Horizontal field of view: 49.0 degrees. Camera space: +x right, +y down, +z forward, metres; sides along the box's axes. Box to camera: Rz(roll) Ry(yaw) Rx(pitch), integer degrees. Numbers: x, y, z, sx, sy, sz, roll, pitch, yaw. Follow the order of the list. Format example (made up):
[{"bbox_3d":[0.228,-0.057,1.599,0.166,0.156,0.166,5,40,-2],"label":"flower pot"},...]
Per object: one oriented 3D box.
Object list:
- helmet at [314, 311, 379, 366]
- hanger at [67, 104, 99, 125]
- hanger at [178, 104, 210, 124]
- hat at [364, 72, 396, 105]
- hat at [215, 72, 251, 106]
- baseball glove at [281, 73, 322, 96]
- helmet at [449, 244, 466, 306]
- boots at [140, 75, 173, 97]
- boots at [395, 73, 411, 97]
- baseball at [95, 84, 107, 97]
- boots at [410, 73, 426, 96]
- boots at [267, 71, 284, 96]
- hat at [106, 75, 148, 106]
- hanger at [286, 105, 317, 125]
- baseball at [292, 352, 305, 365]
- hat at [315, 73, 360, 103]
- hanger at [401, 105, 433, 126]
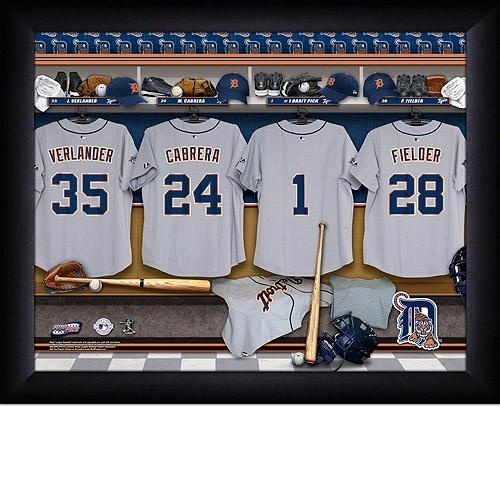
[{"bbox_3d":[0.564,0.506,3.319,0.345,0.279,0.267,-5,12,-11],"label":"helmet"},{"bbox_3d":[-1.066,-0.853,3.508,0.179,0.111,0.103,3,-1,-13],"label":"hanger"},{"bbox_3d":[-0.348,-0.858,3.487,0.128,0.087,0.141,5,21,10],"label":"hanger"},{"bbox_3d":[0.801,-0.995,3.372,0.196,0.203,0.093,2,-1,11],"label":"hat"},{"bbox_3d":[-0.103,-0.996,3.368,0.200,0.132,0.101,3,-1,-2],"label":"hat"},{"bbox_3d":[0.319,-1.014,3.381,0.190,0.085,0.136,-7,27,-7],"label":"baseball glove"},{"bbox_3d":[1.279,0.152,3.371,0.094,0.359,0.253,2,-1,19],"label":"helmet"},{"bbox_3d":[-0.588,-1.018,3.422,0.238,0.099,0.092,1,16,8],"label":"boots"},{"bbox_3d":[0.965,-1.015,3.431,0.062,0.187,0.073,-1,-3,2],"label":"boots"},{"bbox_3d":[-0.918,-0.987,3.392,0.059,0.079,0.077,5,-26,-11],"label":"baseball"},{"bbox_3d":[1.046,-1.014,3.397,0.065,0.183,0.071,-1,-35,14],"label":"boots"},{"bbox_3d":[0.158,-1.036,3.416,0.098,0.096,0.047,2,-1,3],"label":"boots"},{"bbox_3d":[-0.755,-0.969,3.364,0.226,0.116,0.152,33,47,26],"label":"hat"},{"bbox_3d":[0.329,-0.845,3.482,0.120,0.157,0.057,-1,-44,1],"label":"hanger"},{"bbox_3d":[0.289,0.635,3.222,0.053,0.073,0.028,-1,-44,1],"label":"baseball"},{"bbox_3d":[0.531,-0.983,3.350,0.217,0.162,0.124,-17,-32,-26],"label":"hat"},{"bbox_3d":[1.064,-0.827,3.523,0.157,0.146,0.059,-1,-46,6],"label":"hanger"}]
